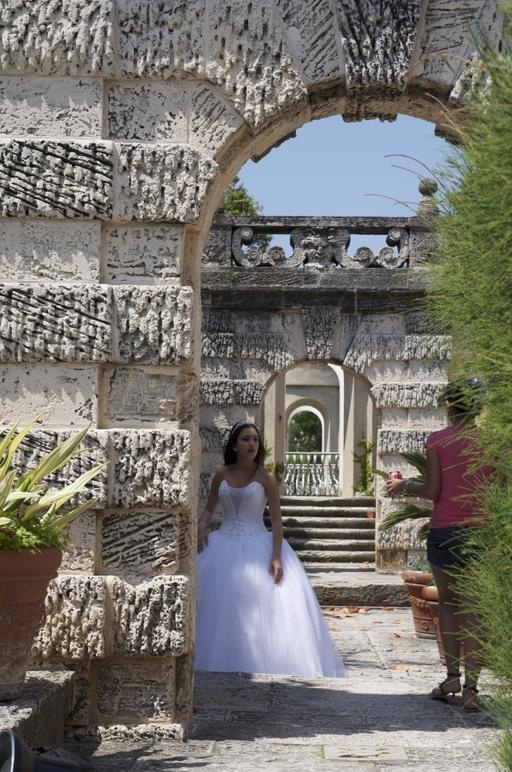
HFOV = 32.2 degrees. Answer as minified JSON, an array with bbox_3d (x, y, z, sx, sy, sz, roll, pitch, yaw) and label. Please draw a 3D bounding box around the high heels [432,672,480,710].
[{"bbox_3d":[0.860,1.349,3.870,0.084,0.094,0.231,0,-2,-17],"label":"high heels"}]
